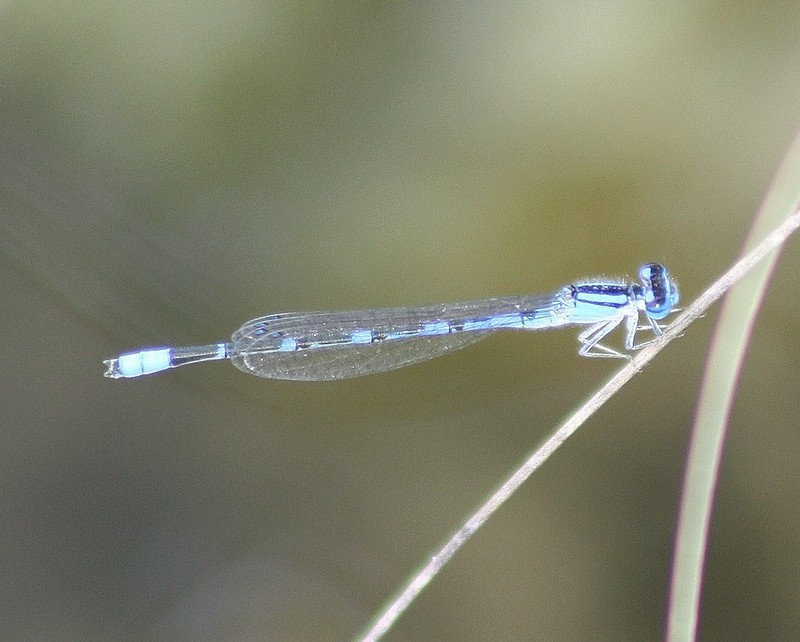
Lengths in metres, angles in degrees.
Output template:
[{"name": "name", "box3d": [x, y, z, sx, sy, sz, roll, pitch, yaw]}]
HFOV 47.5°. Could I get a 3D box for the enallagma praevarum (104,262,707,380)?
[{"name": "enallagma praevarum", "box3d": [0.082, 0.009, 6.226, 3.551, 1.058, 0.370, 5, -9, 6]}]
